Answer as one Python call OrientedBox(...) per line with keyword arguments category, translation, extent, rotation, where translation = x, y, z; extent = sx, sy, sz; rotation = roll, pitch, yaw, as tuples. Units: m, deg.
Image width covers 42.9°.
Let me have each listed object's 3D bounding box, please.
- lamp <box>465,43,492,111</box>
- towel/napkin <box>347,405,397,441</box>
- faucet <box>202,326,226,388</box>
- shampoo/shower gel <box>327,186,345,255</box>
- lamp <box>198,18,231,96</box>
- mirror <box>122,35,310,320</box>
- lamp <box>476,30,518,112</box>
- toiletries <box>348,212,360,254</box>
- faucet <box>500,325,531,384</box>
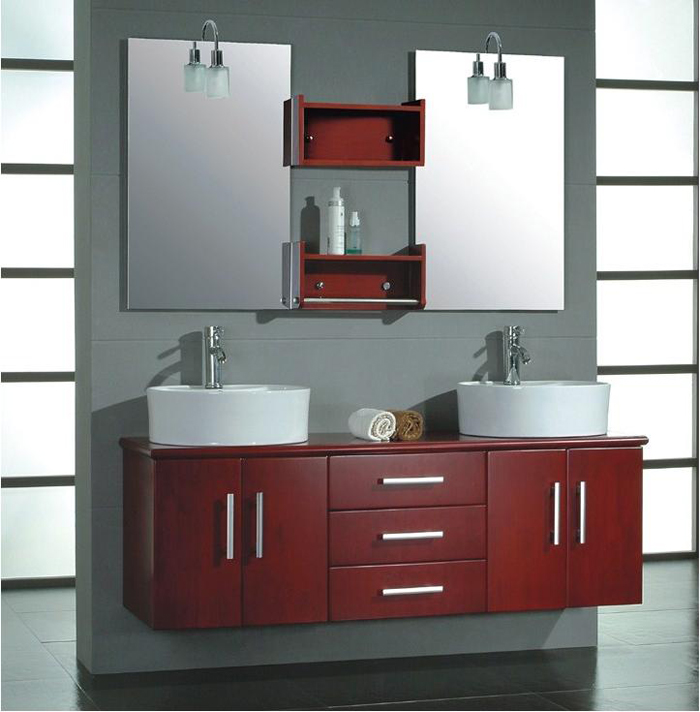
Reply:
OrientedBox(category="lamp", translation=(0.412, -0.904, 2.865), extent=(0.058, 0.188, 0.066), rotation=(-2, 5, -8))
OrientedBox(category="towel/napkin", translation=(0.079, 0.197, 2.741), extent=(0.097, 0.113, 0.161), rotation=(4, 6, -35))
OrientedBox(category="faucet", translation=(-0.421, 0.000, 2.759), extent=(0.062, 0.189, 0.094), rotation=(-1, 4, -13))
OrientedBox(category="shampoo/shower gel", translation=(-0.032, -0.443, 2.916), extent=(0.047, 0.212, 0.100), rotation=(2, 5, 31))
OrientedBox(category="lamp", translation=(-0.404, -0.899, 2.685), extent=(0.067, 0.232, 0.090), rotation=(-2, 8, 13))
OrientedBox(category="mirror", translation=(-0.470, -0.530, 2.945), extent=(0.532, 1.043, 0.114), rotation=(-3, 40, -13))
OrientedBox(category="lamp", translation=(0.445, -0.918, 2.855), extent=(0.062, 0.232, 0.126), rotation=(-18, 28, -32))
OrientedBox(category="toiletries", translation=(0.019, -0.409, 2.933), extent=(0.043, 0.142, 0.105), rotation=(1, 4, 18))
OrientedBox(category="faucet", translation=(0.559, -0.007, 2.993), extent=(0.089, 0.194, 0.225), rotation=(1, 4, 11))
